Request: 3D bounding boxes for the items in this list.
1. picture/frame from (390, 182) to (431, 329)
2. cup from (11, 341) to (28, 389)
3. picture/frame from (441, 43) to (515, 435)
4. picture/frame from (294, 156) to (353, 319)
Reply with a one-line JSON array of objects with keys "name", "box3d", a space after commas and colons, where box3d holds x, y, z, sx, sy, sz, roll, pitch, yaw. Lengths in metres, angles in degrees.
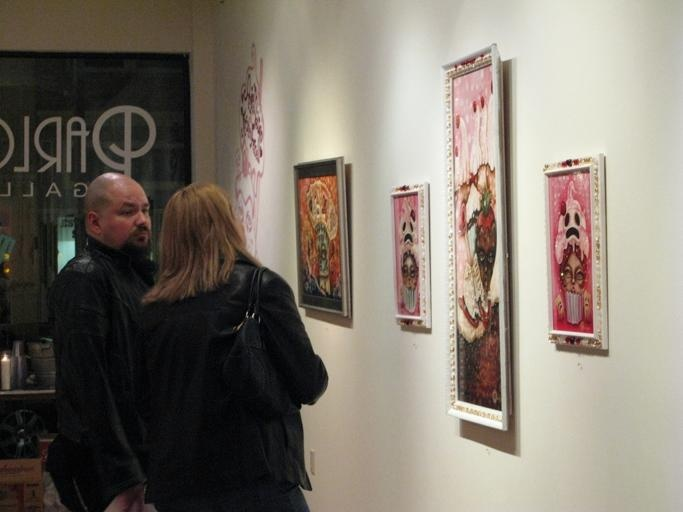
[{"name": "picture/frame", "box3d": [0.303, 0.005, 2.809, 0.069, 0.618, 0.241, -1, 0, -25]}, {"name": "cup", "box3d": [-2.518, 0.844, 5.031, 0.103, 0.393, 0.094, -1, 0, 0]}, {"name": "picture/frame", "box3d": [0.508, -0.064, 2.455, 0.081, 1.361, 0.329, -1, 0, -30]}, {"name": "picture/frame", "box3d": [-0.087, -0.115, 3.438, 0.035, 1.042, 0.764, 0, -2, -20]}]
